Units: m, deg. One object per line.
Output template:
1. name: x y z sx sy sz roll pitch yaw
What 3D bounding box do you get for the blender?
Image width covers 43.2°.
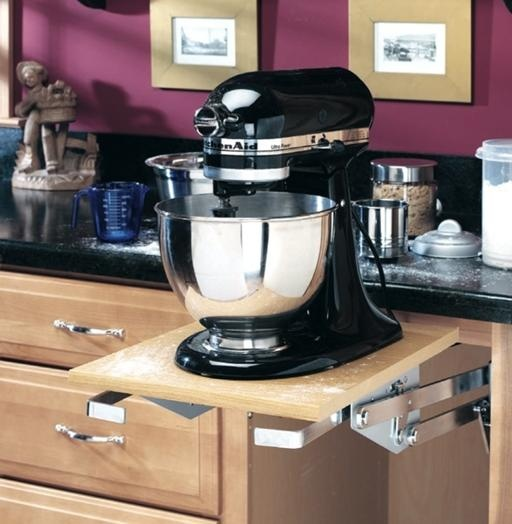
1. blender: 0.040 -0.072 0.828 0.243 0.375 0.345 3 10 26

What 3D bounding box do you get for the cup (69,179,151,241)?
1. cup: -0.306 -0.101 1.381 0.210 0.111 0.127 1 3 12

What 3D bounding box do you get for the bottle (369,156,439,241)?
1. bottle: 0.336 -0.138 1.380 0.152 0.131 0.151 -11 17 -39

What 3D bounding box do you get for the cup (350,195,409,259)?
1. cup: 0.222 -0.067 1.177 0.123 0.102 0.136 -3 13 -10
